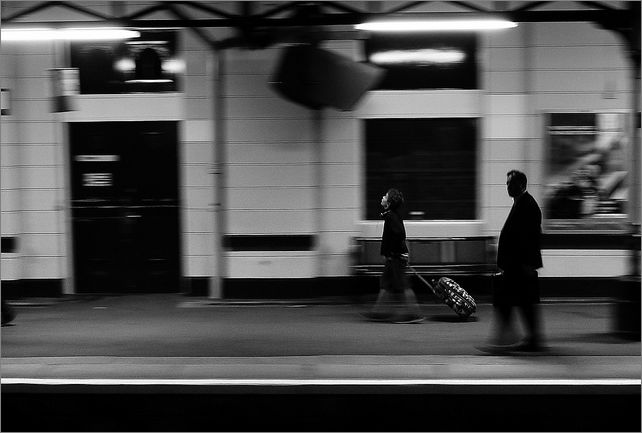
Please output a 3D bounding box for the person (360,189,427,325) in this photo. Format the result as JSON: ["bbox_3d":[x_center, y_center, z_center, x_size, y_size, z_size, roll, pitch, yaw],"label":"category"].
[{"bbox_3d":[1.309,0.669,22.177,1.145,2.073,1.285,4,-8,-9],"label":"person"}]

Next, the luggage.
[{"bbox_3d":[2.184,1.256,22.135,1.383,0.328,0.783,26,2,-7],"label":"luggage"}]

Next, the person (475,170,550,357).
[{"bbox_3d":[2.975,0.684,20.192,0.839,2.748,0.281,1,4,4],"label":"person"}]
